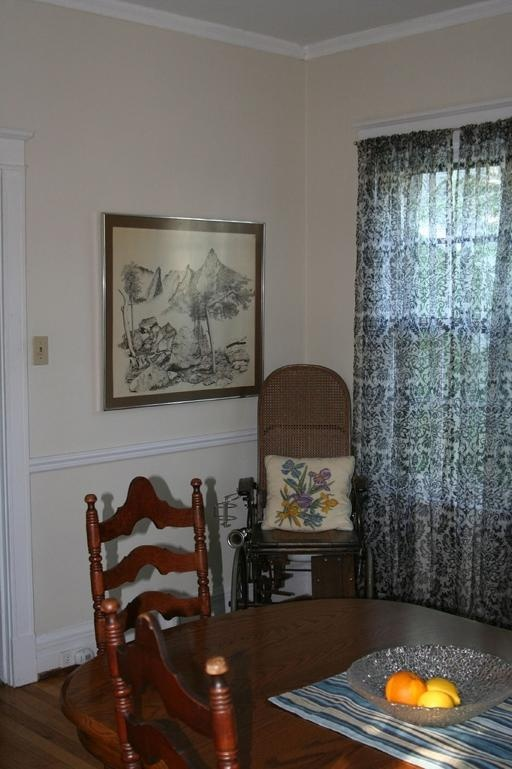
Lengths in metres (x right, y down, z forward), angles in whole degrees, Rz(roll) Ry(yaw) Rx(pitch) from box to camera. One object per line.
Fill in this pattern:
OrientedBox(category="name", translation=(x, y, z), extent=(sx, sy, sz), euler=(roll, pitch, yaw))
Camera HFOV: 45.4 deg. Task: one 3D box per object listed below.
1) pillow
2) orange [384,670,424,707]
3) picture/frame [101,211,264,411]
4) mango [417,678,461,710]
OrientedBox(category="pillow", translation=(0.270, 0.550, 3.095), extent=(0.325, 0.305, 0.117), euler=(0, -29, 3))
OrientedBox(category="orange", translation=(0.249, 0.503, 1.025), extent=(0.049, 0.051, 0.049), euler=(4, 5, 1))
OrientedBox(category="picture/frame", translation=(-0.408, -0.391, 3.153), extent=(1.046, 1.037, 0.041), euler=(-4, 5, -42))
OrientedBox(category="mango", translation=(0.304, 0.491, 1.012), extent=(0.055, 0.043, 0.041), euler=(-10, -1, -20))
